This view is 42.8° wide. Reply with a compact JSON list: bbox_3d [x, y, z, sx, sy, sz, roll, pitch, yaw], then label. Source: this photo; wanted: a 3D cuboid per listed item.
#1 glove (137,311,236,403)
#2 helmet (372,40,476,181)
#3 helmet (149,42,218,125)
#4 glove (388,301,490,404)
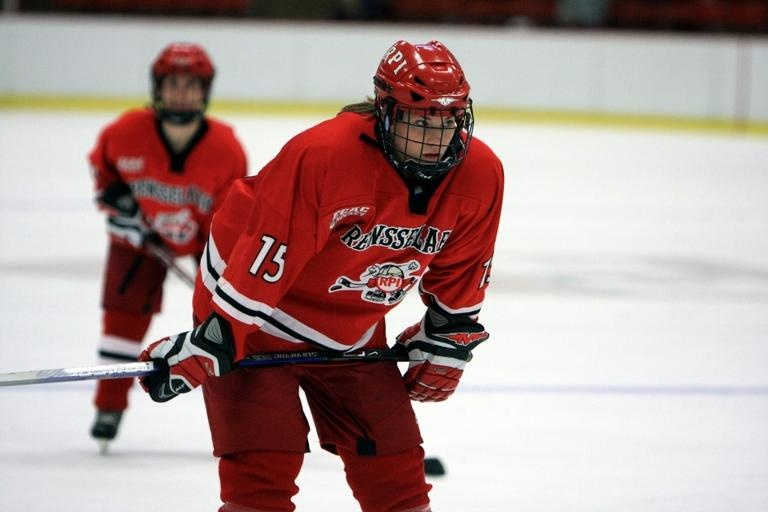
[{"bbox_3d":[-0.774,0.407,3.839,0.434,0.260,0.174,-21,-20,18],"label":"glove"},{"bbox_3d":[0.142,-0.632,4.005,0.422,0.448,0.509,-12,25,-34],"label":"helmet"},{"bbox_3d":[-1.002,-0.888,4.939,0.360,0.371,0.417,-3,15,-18],"label":"helmet"},{"bbox_3d":[0.182,0.392,4.324,0.396,0.440,0.223,34,10,-20],"label":"glove"}]
